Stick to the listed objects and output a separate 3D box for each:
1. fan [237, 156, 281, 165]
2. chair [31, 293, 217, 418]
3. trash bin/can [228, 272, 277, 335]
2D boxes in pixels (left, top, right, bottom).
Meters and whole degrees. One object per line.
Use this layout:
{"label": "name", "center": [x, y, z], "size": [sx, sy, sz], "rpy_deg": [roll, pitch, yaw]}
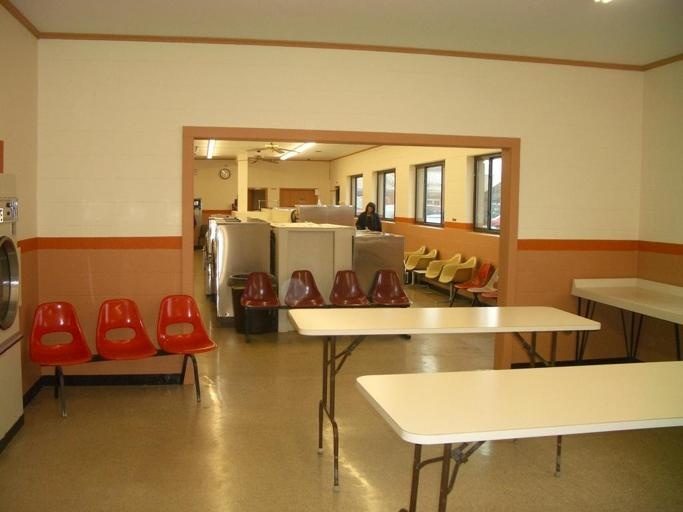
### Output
{"label": "fan", "center": [-2.806, -3.346, 18.831], "size": [1.182, 0.217, 2.727], "rpy_deg": [1, 9, -2]}
{"label": "chair", "center": [-2.157, 0.907, 5.348], "size": [1.588, 0.973, 0.866], "rpy_deg": [-2, 10, -20]}
{"label": "trash bin/can", "center": [-1.264, 0.675, 7.661], "size": [0.826, 0.722, 0.815], "rpy_deg": [-1, 7, -25]}
